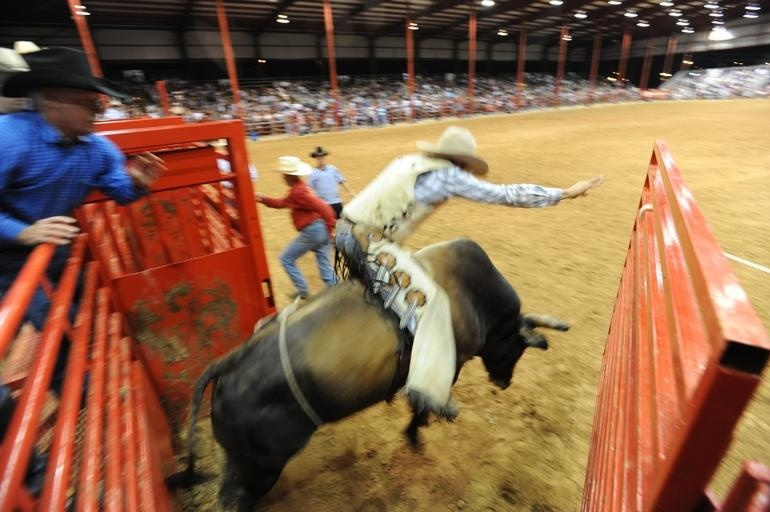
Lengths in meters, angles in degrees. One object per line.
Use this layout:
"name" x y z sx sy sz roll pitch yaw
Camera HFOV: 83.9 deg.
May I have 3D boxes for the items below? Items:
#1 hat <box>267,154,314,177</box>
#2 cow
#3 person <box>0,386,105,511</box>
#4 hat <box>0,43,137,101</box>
"hat" -0.993 -0.964 4.629 0.306 0.207 0.405 -4 24 -8
"cow" -0.185 0.925 3.081 2.645 1.281 0.708 -23 37 -2
"person" -1.558 0.905 1.902 0.504 0.699 0.128 19 35 35
"hat" -1.843 -1.027 2.454 0.479 0.161 0.370 -7 18 -42
